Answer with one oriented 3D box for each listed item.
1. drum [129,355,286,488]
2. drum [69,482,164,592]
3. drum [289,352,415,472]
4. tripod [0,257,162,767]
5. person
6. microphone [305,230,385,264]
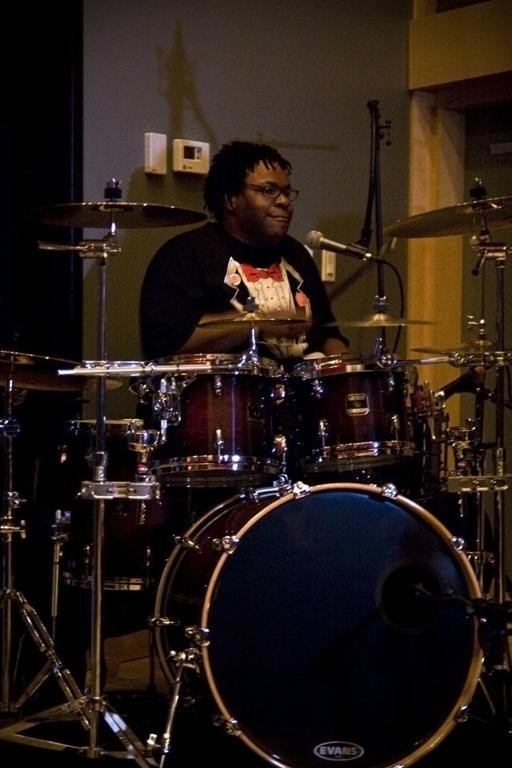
[{"bbox_3d":[-0.104,0.104,2.268,0.395,0.246,0.362,-1,-15,0],"label":"drum"},{"bbox_3d":[-0.344,0.387,2.373,0.317,0.286,0.290,3,-1,11],"label":"drum"},{"bbox_3d":[0.253,0.101,2.379,0.318,0.336,0.357,0,1,2],"label":"drum"},{"bbox_3d":[-0.433,0.297,2.133,0.331,1.227,0.443,-1,1,-30],"label":"tripod"},{"bbox_3d":[0.004,-0.429,2.912,0.530,0.715,0.862,10,11,40],"label":"person"},{"bbox_3d":[0.267,-0.420,2.669,0.236,0.096,0.208,0,1,17],"label":"microphone"}]
